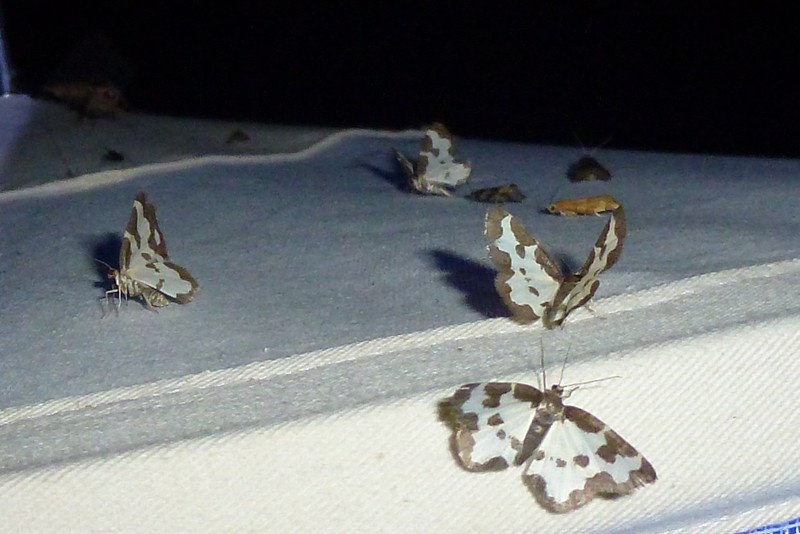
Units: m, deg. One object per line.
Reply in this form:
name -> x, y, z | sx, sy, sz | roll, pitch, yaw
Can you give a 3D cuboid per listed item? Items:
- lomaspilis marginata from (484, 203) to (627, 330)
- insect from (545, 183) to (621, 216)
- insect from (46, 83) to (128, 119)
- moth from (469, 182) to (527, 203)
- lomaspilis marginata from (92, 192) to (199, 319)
lomaspilis marginata -> 0.526, 0.021, 3.849 | 0.589, 0.411, 0.276 | 2, -8, 0
insect -> 0.804, -0.272, 4.423 | 0.262, 0.093, 0.136 | -13, 31, 21
insect -> -1.544, -0.812, 4.952 | 0.317, 0.191, 0.067 | -1, -2, -24
moth -> 0.451, -0.328, 4.601 | 0.175, 0.036, 0.110 | -11, 30, -19
lomaspilis marginata -> -0.946, -0.002, 3.939 | 0.440, 0.369, 0.450 | 13, 37, -15
